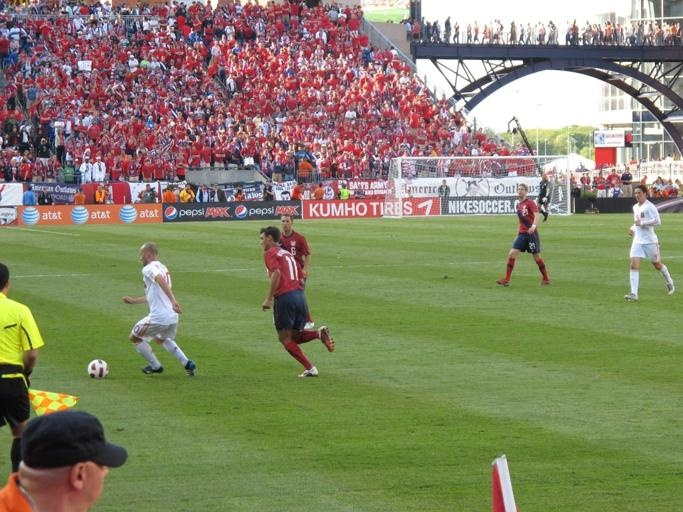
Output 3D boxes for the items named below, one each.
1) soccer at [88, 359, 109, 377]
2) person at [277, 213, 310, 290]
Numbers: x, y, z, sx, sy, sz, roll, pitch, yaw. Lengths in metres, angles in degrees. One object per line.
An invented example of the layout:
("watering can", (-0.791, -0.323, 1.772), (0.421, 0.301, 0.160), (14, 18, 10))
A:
("soccer", (-5.668, 2.593, 35.983), (0.404, 0.393, 0.399), (0, -9, 3))
("person", (-1.129, -0.160, 39.347), (0.677, 1.767, 0.709), (-13, 17, -36))
